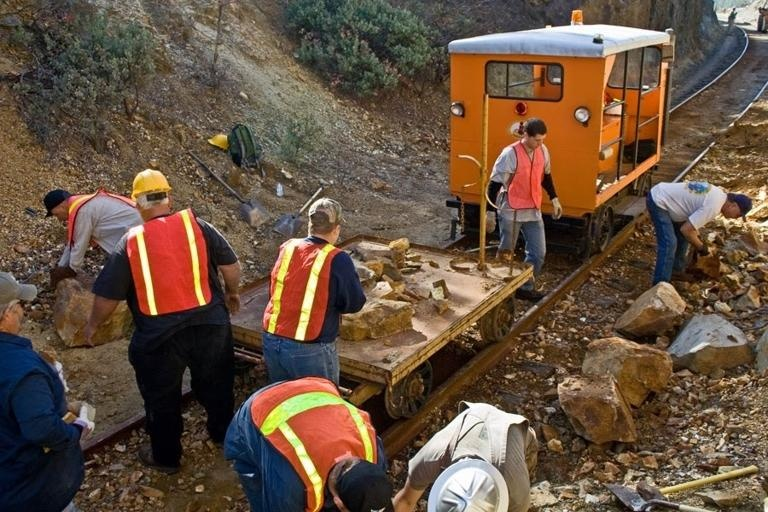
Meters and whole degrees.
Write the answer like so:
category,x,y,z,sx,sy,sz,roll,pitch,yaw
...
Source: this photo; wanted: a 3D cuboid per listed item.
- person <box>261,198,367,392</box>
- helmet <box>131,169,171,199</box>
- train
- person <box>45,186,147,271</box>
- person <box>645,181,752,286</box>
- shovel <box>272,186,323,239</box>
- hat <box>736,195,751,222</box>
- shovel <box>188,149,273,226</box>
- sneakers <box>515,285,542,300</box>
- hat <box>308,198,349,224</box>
category,x,y,z,sx,sy,sz,roll,pitch,yaw
person,-0.672,0.351,5.615,0.929,1.702,0.422,-4,18,-13
helmet,-2.260,-0.678,5.861,0.326,0.283,0.196,-6,19,-19
train,3.051,-1.993,9.972,3.041,3.791,5.741,7,27,23
person,-3.400,-0.286,7.123,1.167,0.773,0.511,14,41,0
person,4.567,-0.262,8.827,1.185,1.532,0.773,6,45,4
shovel,-1.459,-0.753,10.596,0.341,0.132,1.180,28,45,1
hat,4.685,-0.664,7.943,0.195,0.277,0.455,10,20,28
shovel,-2.640,-1.125,10.198,2.187,0.238,0.509,45,58,11
sneakers,2.049,0.548,8.587,0.429,0.205,0.148,3,26,5
hat,-0.525,-0.446,5.627,0.231,0.294,0.298,2,14,7
